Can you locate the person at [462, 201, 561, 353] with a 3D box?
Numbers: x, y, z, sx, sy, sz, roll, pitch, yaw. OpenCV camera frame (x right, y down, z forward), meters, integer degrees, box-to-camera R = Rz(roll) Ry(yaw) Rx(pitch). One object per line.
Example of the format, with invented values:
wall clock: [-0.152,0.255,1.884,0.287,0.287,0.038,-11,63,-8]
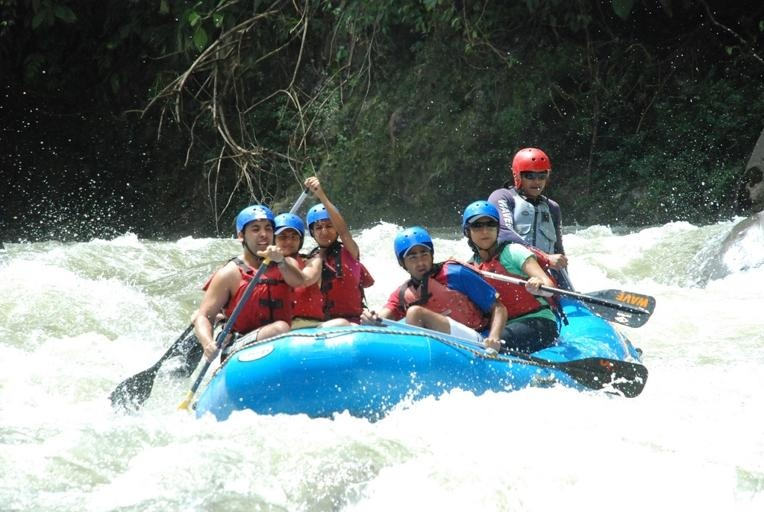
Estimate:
person: [1.225,0.242,7.683,0.880,1.230,0.880,-40,-24,28]

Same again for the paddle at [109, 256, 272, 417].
paddle: [-1.874,0.846,7.739,0.819,2.298,0.085,38,6,33]

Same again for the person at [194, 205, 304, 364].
person: [-1.169,0.429,7.402,1.042,1.808,1.040,-3,4,9]

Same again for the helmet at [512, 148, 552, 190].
helmet: [1.605,-0.954,8.584,0.372,0.417,0.467,-10,2,-14]

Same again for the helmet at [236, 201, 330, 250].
helmet: [-0.969,-0.331,7.598,0.425,0.343,0.683,29,12,32]

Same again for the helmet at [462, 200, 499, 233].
helmet: [0.938,-0.405,7.780,0.242,0.346,0.250,1,25,-7]

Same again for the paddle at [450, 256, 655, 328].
paddle: [1.728,0.391,8.151,1.836,0.090,0.466,15,39,-1]

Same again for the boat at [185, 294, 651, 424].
boat: [0.437,0.971,7.017,2.688,0.557,1.637,-3,-1,-26]
